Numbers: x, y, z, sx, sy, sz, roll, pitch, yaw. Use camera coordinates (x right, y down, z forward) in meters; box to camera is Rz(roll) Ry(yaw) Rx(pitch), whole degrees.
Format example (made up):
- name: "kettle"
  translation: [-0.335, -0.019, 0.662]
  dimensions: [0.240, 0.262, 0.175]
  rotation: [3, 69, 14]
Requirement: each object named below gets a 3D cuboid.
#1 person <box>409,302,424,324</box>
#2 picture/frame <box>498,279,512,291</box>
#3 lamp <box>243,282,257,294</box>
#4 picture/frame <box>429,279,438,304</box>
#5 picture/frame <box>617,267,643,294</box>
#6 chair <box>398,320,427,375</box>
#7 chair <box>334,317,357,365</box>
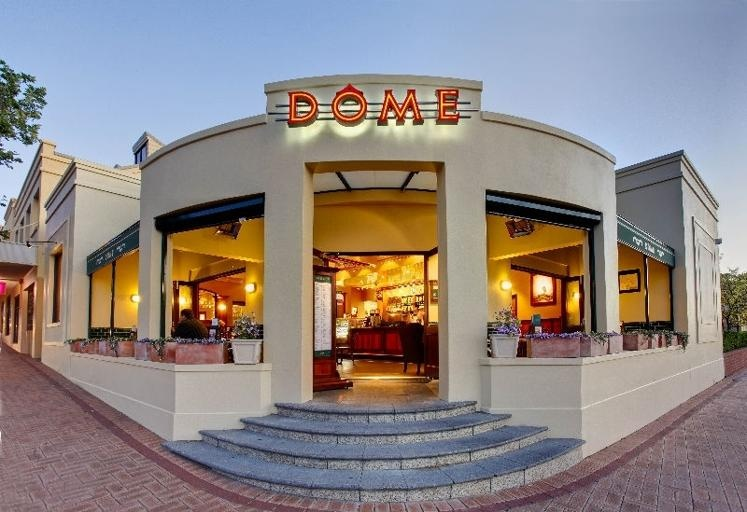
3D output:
- name: "person"
  translation: [1.450, 1.894, 17.753]
  dimensions: [0.536, 1.062, 0.554]
  rotation: [2, -5, -1]
- name: "picture/frame"
  translation: [3.906, 0.860, 15.862]
  dimensions: [0.416, 0.389, 0.130]
  rotation: [-14, 16, -36]
- name: "lamp"
  translation: [-3.851, 1.020, 16.931]
  dimensions: [0.089, 0.368, 0.381]
  rotation: [4, -2, -45]
- name: "picture/frame"
  translation: [1.680, 0.999, 15.060]
  dimensions: [0.163, 0.658, 0.218]
  rotation: [-5, 13, -5]
- name: "picture/frame"
  translation: [7.775, 0.742, 16.200]
  dimensions: [0.111, 0.810, 0.811]
  rotation: [0, -7, -20]
- name: "chair"
  translation: [1.067, 2.154, 13.979]
  dimensions: [0.793, 1.183, 0.871]
  rotation: [10, -49, -1]
- name: "chair"
  translation: [-0.660, 2.377, 16.468]
  dimensions: [0.622, 0.993, 0.623]
  rotation: [6, -32, -44]
